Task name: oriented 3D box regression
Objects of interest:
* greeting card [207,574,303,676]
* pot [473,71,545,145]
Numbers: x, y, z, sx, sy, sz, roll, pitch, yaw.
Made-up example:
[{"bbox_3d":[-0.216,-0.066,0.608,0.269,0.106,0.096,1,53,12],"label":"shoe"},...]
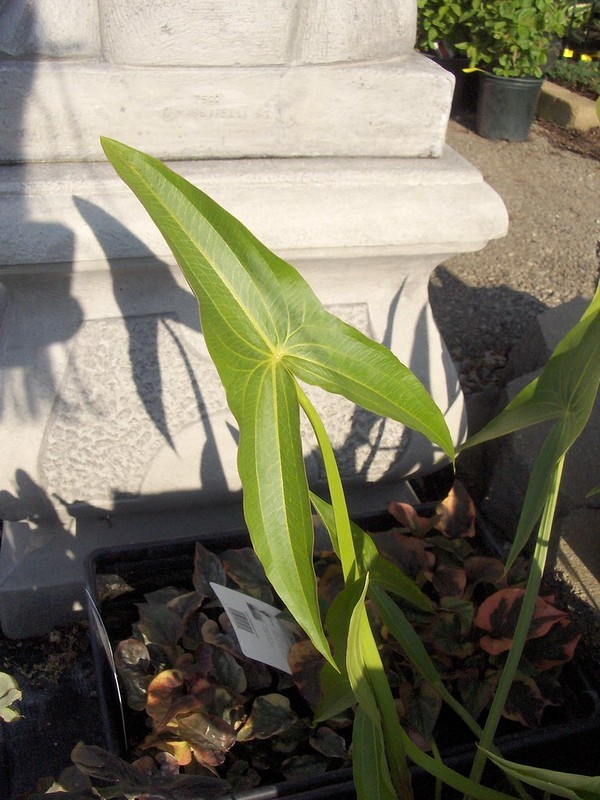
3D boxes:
[{"bbox_3d":[-0.054,0.284,0.910,0.013,0.140,0.136,-28,79,-38],"label":"greeting card"},{"bbox_3d":[1.121,-1.708,4.275,0.456,0.397,0.401,1,37,1],"label":"pot"}]
